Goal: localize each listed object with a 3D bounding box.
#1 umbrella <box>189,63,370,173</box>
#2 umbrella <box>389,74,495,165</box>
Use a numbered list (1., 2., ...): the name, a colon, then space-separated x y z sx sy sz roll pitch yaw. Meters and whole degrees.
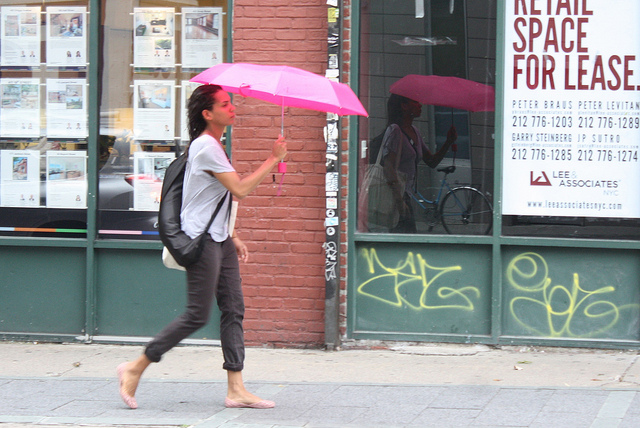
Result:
1. umbrella: -0.415 -0.916 8.103 1.557 0.626 1.257 11 -5 -10
2. umbrella: 1.366 -0.947 9.425 1.136 0.700 1.085 8 -6 -41
